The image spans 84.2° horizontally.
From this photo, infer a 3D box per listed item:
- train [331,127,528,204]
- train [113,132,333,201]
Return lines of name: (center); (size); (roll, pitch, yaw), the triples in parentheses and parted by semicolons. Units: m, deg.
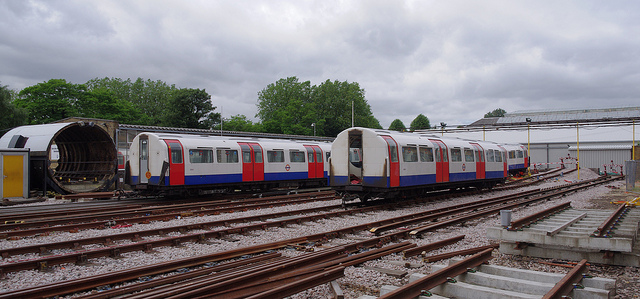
train: (9.352, 1.084, 27.647); (23.732, 3.529, 4.641); (2, -5, -41)
train: (-6.454, 0.903, 27.209); (24.772, 4.341, 5.251); (-2, 2, -35)
